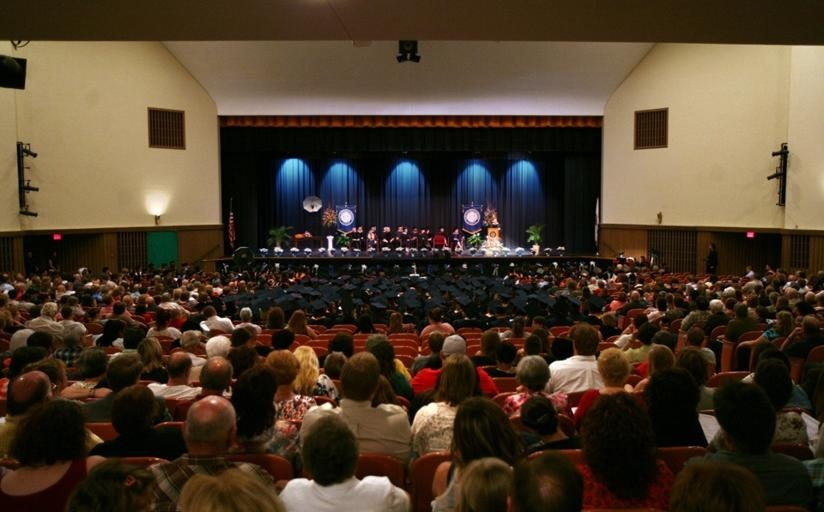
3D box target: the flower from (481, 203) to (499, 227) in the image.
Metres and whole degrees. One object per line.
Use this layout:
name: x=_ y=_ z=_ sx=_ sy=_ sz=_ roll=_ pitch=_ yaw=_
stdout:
flower: x=3.757 y=-1.996 z=29.886 sx=0.836 sy=1.241 sz=0.920 roll=0 pitch=-4 yaw=-15

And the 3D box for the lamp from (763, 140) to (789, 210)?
lamp: x=12.242 y=-2.713 z=20.634 sx=0.494 sy=2.142 sz=0.620 roll=0 pitch=0 yaw=14

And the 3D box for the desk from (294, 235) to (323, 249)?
desk: x=-4.930 y=-0.676 z=29.533 sx=0.901 sy=0.898 sz=0.713 roll=-1 pitch=1 yaw=-19

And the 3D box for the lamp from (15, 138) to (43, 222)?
lamp: x=-12.636 y=-2.531 z=20.216 sx=0.408 sy=2.464 sz=0.743 roll=0 pitch=0 yaw=0

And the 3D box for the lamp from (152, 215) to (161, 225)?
lamp: x=-10.148 y=-1.439 z=24.314 sx=0.201 sy=0.411 sz=0.403 roll=0 pitch=-1 yaw=2
